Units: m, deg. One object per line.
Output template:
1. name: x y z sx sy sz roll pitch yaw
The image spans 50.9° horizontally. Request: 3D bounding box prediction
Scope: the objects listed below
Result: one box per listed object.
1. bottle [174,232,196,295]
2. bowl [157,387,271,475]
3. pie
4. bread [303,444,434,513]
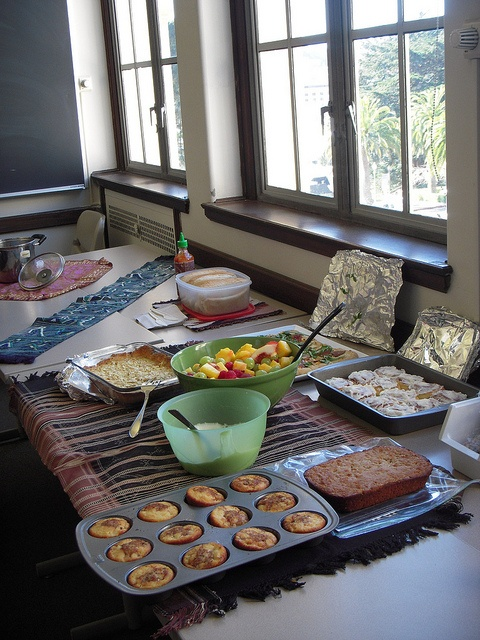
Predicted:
1. bottle: -0.220 -0.249 1.985 0.080 0.196 0.077 -4 19 1
2. bowl: -0.042 0.190 0.859 0.191 0.093 0.194 -4 12 1
3. pie: -0.094 -0.100 1.777 0.209 0.142 0.233 -11 15 -23
4. bread: 0.193 0.236 0.771 0.190 0.039 0.122 -10 14 -21
